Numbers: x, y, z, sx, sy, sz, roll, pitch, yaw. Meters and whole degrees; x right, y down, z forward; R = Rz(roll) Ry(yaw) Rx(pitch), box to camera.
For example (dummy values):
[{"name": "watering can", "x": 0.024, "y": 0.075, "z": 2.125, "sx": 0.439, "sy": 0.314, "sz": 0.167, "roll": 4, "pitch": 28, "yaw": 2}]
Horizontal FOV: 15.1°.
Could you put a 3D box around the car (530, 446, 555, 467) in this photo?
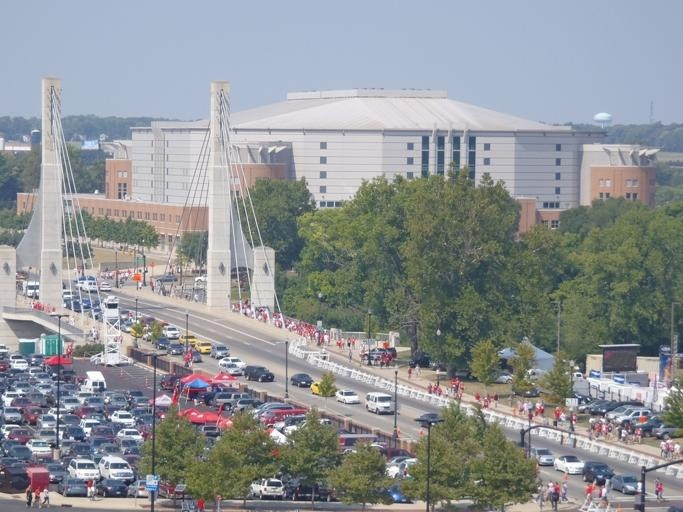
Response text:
[{"name": "car", "x": 20.594, "y": 20.922, "z": 265.839, "sx": 2.325, "sy": 1.731, "sz": 1.795, "roll": 0, "pitch": -1, "yaw": 4}]

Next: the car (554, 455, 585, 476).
[{"name": "car", "x": 22.860, "y": 21.538, "z": 264.382, "sx": 1.602, "sy": 1.160, "sz": 2.724, "roll": 0, "pitch": -2, "yaw": -30}]

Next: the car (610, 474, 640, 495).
[{"name": "car", "x": 28.241, "y": 23.169, "z": 260.083, "sx": 1.575, "sy": 1.074, "sz": 2.669, "roll": 0, "pitch": -1, "yaw": -28}]

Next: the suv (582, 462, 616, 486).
[{"name": "suv", "x": 25.641, "y": 22.164, "z": 262.400, "sx": 1.752, "sy": 1.467, "sz": 2.879, "roll": 0, "pitch": -3, "yaw": -25}]
